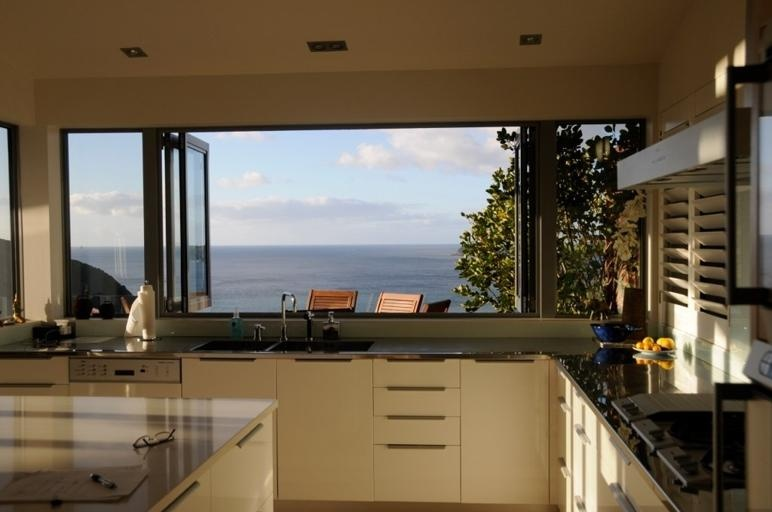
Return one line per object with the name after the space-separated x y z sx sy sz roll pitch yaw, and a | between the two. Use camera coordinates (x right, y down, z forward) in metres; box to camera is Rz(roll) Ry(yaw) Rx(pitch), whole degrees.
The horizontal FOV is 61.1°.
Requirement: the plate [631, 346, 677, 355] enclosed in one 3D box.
1.776 0.626 4.318 0.259 0.050 0.197 -2 -1 20 | plate

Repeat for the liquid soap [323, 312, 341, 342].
-0.402 0.529 4.951 0.112 0.160 0.166 -2 -1 19 | liquid soap

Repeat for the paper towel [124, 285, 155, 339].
-1.897 0.432 4.991 0.228 0.416 0.273 -1 -1 -13 | paper towel

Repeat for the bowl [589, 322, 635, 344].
1.610 0.540 4.598 0.243 0.081 0.165 1 -7 0 | bowl
